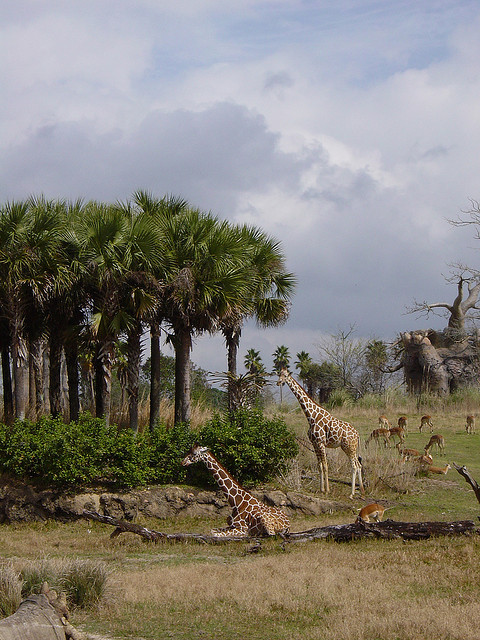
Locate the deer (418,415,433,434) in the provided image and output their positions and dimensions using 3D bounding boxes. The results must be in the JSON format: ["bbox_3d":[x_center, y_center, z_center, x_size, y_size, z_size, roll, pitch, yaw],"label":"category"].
[{"bbox_3d":[5.109,2.926,39.061,0.108,0.403,0.521,10,-43,-6],"label":"deer"}]

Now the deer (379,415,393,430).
[{"bbox_3d":[3.956,2.842,38.704,0.167,0.437,0.700,-7,-23,27],"label":"deer"}]

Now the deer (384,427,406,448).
[{"bbox_3d":[3.841,2.942,35.194,0.531,0.501,1.516,1,-6,6],"label":"deer"}]

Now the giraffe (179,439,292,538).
[{"bbox_3d":[-0.024,3.207,26.260,1.829,1.620,1.317,0,-5,12],"label":"giraffe"}]

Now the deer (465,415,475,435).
[{"bbox_3d":[6.280,2.904,38.724,0.220,0.504,0.933,0,-6,9],"label":"deer"}]
